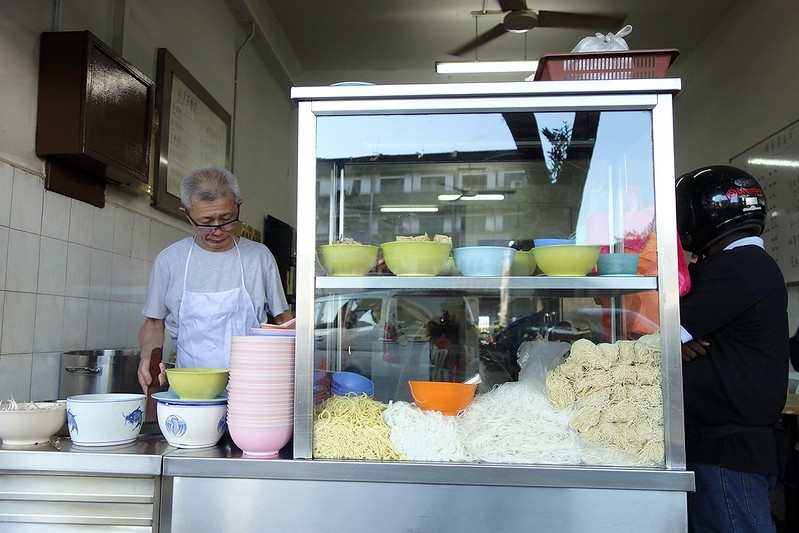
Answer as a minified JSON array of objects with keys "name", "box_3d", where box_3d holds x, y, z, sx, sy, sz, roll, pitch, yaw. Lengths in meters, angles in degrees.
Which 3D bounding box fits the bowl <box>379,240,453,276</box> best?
[{"name":"bowl","box_3d":[0.064,-0.022,2.242,0.289,0.122,0.291,0,-1,0]}]

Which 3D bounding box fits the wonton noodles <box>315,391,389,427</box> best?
[{"name":"wonton noodles","box_3d":[-0.169,0.504,2.086,0.145,0.054,0.127,-1,2,-19]}]

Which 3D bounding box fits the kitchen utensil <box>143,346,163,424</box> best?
[{"name":"kitchen utensil","box_3d":[-0.955,0.471,2.399,0.054,0.307,0.031,-6,-15,-22]}]

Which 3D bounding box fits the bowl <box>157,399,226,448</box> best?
[{"name":"bowl","box_3d":[-0.763,0.572,2.185,0.262,0.163,0.261,2,-13,0]}]

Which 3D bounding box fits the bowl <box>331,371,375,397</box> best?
[{"name":"bowl","box_3d":[-0.171,0.421,2.131,0.113,0.045,0.098,10,-3,-9]}]

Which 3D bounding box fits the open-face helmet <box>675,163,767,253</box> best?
[{"name":"open-face helmet","box_3d":[1.182,-0.246,2.491,0.331,0.368,0.404,4,8,-5]}]

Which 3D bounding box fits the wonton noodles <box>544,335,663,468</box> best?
[{"name":"wonton noodles","box_3d":[0.717,0.421,2.055,0.419,0.399,0.182,-3,-2,19]}]

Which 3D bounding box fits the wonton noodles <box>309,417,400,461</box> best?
[{"name":"wonton noodles","box_3d":[-0.144,0.595,2.057,0.285,0.130,0.047,-2,-6,8]}]

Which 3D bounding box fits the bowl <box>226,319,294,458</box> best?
[{"name":"bowl","box_3d":[-0.474,0.451,2.077,0.219,0.413,0.097,0,-7,-15]}]

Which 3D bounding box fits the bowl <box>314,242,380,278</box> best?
[{"name":"bowl","box_3d":[-0.194,-0.018,2.213,0.253,0.109,0.252,1,0,0]}]

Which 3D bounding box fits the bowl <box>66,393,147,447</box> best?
[{"name":"bowl","box_3d":[-1.064,0.563,2.197,0.294,0.162,0.257,0,-9,-2]}]

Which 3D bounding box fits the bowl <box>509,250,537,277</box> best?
[{"name":"bowl","box_3d":[0.446,-0.012,2.173,0.096,0.061,0.090,1,-3,0]}]

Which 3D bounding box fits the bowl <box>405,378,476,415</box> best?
[{"name":"bowl","box_3d":[0.169,0.495,2.245,0.267,0.118,0.263,1,-8,0]}]

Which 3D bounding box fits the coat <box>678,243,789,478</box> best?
[{"name":"coat","box_3d":[1.246,0.341,2.212,0.388,0.844,0.230,-4,-7,21]}]

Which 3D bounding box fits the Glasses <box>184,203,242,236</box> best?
[{"name":"Glasses","box_3d":[-0.839,-0.212,2.689,0.238,0.133,0.159,0,-6,-18]}]

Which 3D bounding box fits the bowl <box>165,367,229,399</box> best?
[{"name":"bowl","box_3d":[-0.721,0.413,2.151,0.145,0.062,0.144,1,-6,0]}]
